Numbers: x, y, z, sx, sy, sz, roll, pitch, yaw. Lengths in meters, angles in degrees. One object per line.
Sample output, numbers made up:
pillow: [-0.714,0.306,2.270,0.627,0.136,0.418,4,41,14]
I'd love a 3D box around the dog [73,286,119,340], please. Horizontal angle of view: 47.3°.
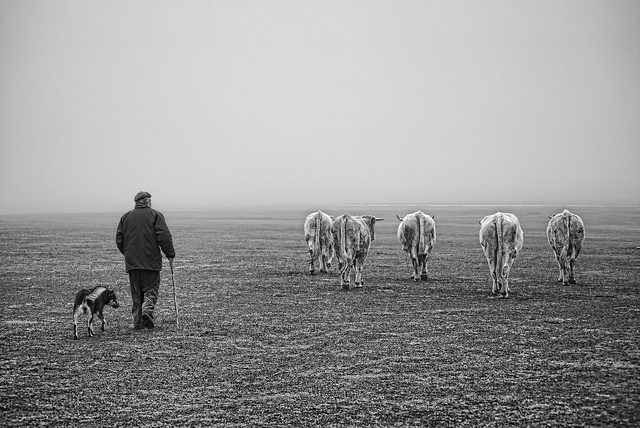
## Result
dog: [-6.516,2.645,20.228,0.825,1.347,2.009,0,11,3]

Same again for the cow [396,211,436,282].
cow: [3.883,1.308,28.867,1.236,2.642,2.097,-1,10,-2]

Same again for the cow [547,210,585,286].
cow: [9.293,1.284,27.466,1.268,2.751,1.787,3,11,18]

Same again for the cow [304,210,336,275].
cow: [-0.124,1.240,31.170,1.226,2.718,2.959,0,10,1]
